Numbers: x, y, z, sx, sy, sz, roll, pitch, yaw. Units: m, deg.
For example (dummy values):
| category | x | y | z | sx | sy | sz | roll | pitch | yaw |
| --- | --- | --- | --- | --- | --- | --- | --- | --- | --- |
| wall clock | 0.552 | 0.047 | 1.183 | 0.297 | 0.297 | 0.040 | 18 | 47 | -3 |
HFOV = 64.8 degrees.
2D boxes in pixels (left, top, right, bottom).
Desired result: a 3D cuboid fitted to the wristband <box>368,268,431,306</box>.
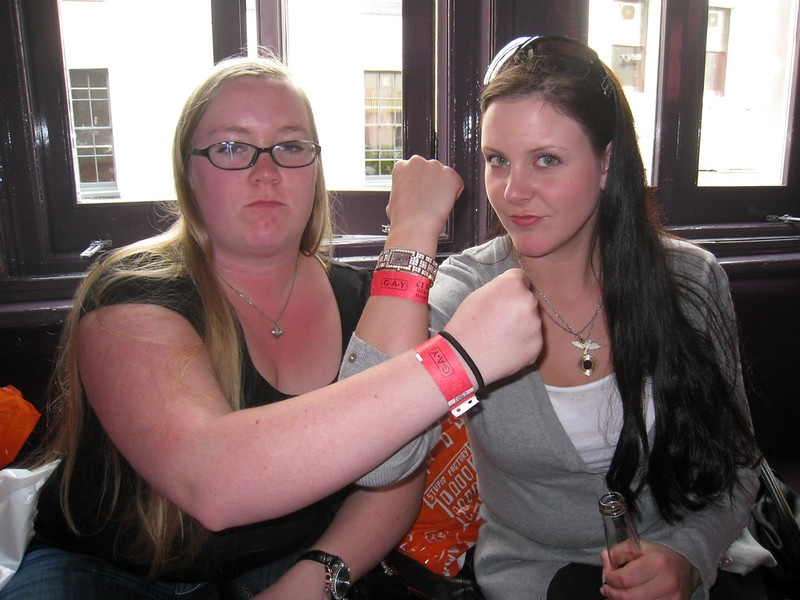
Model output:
| category | x | y | z | sx | sy | sz | roll | pitch | yaw |
| --- | --- | --- | --- | --- | --- | --- | --- | --- | --- |
| wristband | 0.000 | -0.030 | 1.335 | 0.087 | 0.086 | 0.087 | 13 | -5 | 9 |

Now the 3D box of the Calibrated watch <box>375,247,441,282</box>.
| category | x | y | z | sx | sy | sz | roll | pitch | yaw |
| --- | --- | --- | --- | --- | --- | --- | --- | --- | --- |
| Calibrated watch | 0.017 | -0.079 | 1.342 | 0.111 | 0.072 | 0.108 | 10 | -12 | -6 |

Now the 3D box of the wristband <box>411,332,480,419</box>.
| category | x | y | z | sx | sy | sz | roll | pitch | yaw |
| --- | --- | --- | --- | --- | --- | --- | --- | --- | --- |
| wristband | 0.097 | 0.117 | 1.199 | 0.086 | 0.145 | 0.151 | -35 | 32 | -10 |

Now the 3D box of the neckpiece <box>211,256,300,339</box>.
| category | x | y | z | sx | sy | sz | roll | pitch | yaw |
| --- | --- | --- | --- | --- | --- | --- | --- | --- | --- |
| neckpiece | -0.338 | -0.007 | 1.560 | 0.188 | 0.180 | 0.048 | -21 | -6 | -35 |
